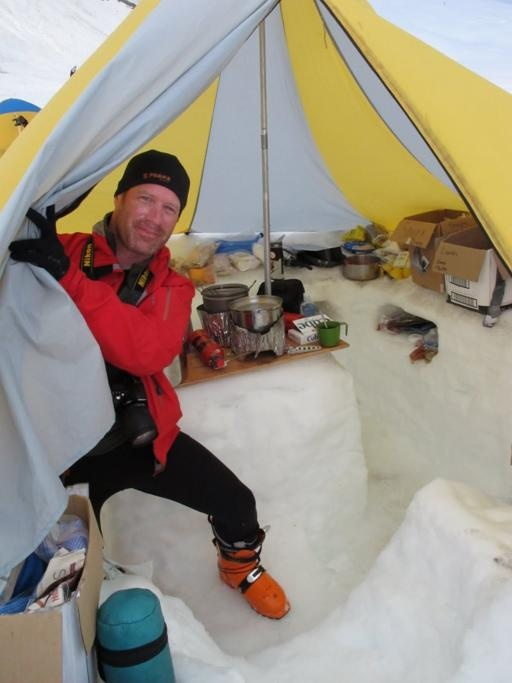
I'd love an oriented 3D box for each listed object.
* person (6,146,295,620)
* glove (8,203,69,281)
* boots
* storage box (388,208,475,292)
[{"bbox_3d":[-0.256,0.232,1.710,0.800,1.503,0.929,-4,28,-26],"label":"person"},{"bbox_3d":[-0.477,-0.214,1.097,0.093,0.172,0.123,12,53,5],"label":"glove"},{"bbox_3d":[-0.018,0.764,1.633,0.111,0.201,0.278,-33,54,-30],"label":"boots"},{"bbox_3d":[1.309,-0.769,3.821,0.577,0.721,0.650,-9,27,-22],"label":"storage box"}]
